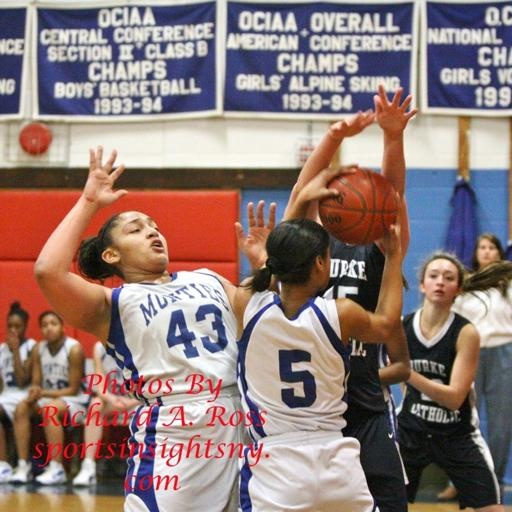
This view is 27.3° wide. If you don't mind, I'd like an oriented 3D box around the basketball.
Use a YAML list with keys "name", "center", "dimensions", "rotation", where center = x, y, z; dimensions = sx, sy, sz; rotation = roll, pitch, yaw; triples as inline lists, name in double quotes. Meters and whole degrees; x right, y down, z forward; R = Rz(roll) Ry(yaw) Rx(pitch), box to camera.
- name: "basketball"
  center: [0.479, -0.223, 5.042]
  dimensions: [0.286, 0.367, 0.326]
  rotation: [0, 6, -18]

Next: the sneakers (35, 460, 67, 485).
- name: "sneakers"
  center: [-1.421, 1.534, 7.426]
  dimensions: [0.210, 0.185, 0.116]
  rotation: [-2, -10, 6]

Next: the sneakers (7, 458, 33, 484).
- name: "sneakers"
  center: [-1.655, 1.523, 7.459]
  dimensions: [0.096, 0.144, 0.279]
  rotation: [3, -9, -7]
